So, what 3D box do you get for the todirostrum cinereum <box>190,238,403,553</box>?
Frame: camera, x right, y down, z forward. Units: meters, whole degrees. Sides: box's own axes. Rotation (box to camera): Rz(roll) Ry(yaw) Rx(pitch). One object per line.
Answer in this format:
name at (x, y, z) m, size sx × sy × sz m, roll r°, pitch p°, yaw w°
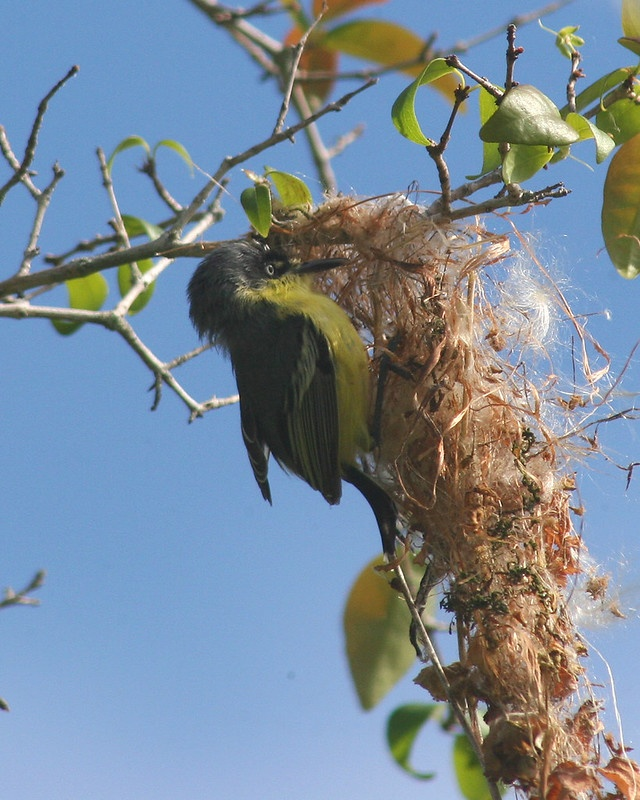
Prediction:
todirostrum cinereum at (-0.102, -0.006, 4.312) m, size 0.518 × 0.870 × 0.687 m, roll -11°, pitch -56°, yaw 2°
